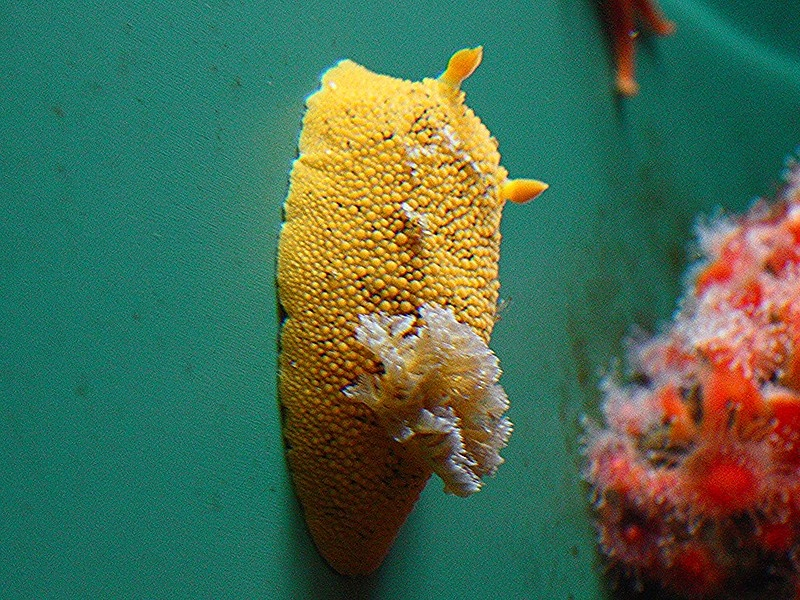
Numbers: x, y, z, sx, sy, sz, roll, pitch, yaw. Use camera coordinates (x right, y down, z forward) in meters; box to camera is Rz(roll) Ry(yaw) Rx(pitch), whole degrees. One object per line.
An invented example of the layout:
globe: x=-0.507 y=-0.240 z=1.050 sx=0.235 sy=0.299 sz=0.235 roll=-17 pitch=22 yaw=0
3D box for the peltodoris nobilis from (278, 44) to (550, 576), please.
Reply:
peltodoris nobilis: x=-0.021 y=-0.006 z=1.233 sx=0.371 sy=0.143 sz=0.629 roll=16 pitch=80 yaw=-30
